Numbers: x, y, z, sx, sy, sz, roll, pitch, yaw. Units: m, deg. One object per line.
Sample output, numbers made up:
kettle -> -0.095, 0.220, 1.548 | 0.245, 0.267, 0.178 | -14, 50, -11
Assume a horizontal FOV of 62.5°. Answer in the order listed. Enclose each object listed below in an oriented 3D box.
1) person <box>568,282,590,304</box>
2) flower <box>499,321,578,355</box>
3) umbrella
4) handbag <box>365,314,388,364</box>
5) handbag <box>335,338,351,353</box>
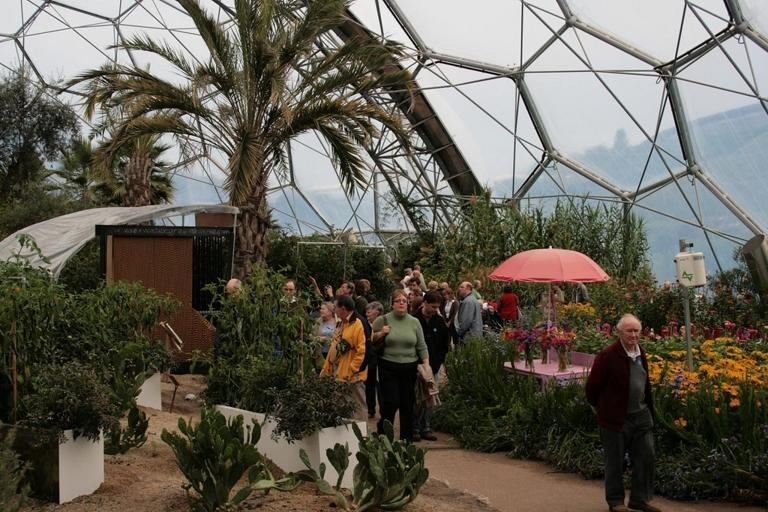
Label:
person -> 5.274, 1.035, 17.235 | 0.451, 0.884, 0.887 | 1, 0, -2
flower -> 2.754, 1.492, 11.301 | 0.704, 0.369, 0.746 | 3, 7, 30
umbrella -> 3.164, 0.797, 12.335 | 1.610, 1.538, 1.729 | 0, -3, 3
handbag -> -0.098, 1.281, 9.682 | 0.422, 0.680, 0.610 | -2, 11, 11
handbag -> -0.572, 1.310, 9.146 | 0.133, 0.215, 0.072 | 2, 6, 13
